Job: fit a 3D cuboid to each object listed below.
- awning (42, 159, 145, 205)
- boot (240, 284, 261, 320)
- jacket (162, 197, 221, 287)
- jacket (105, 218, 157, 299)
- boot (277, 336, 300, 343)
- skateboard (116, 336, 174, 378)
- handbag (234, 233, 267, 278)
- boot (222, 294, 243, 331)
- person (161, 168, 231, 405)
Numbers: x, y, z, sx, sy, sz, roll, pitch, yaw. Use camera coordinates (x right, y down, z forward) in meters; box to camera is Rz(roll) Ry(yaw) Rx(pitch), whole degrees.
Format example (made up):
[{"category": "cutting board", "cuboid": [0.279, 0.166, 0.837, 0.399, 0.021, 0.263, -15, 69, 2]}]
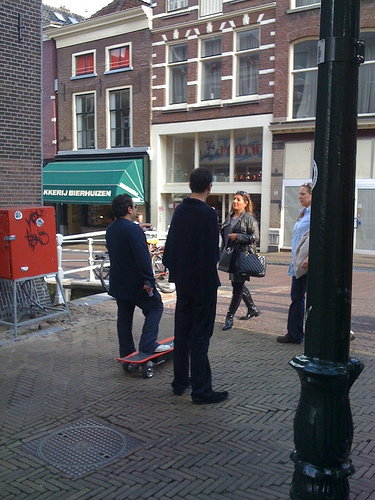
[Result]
[{"category": "awning", "cuboid": [-4.070, -2.987, 22.870, 5.671, 1.939, 1.662, 6, 14, 42]}, {"category": "boot", "cuboid": [0.809, 0.685, 7.076, 0.244, 0.551, 0.809, 0, 5, 6]}, {"category": "jacket", "cuboid": [0.036, -0.059, 4.171, 0.433, 0.669, 0.131, 2, 5, 22]}, {"category": "jacket", "cuboid": [-0.514, 0.077, 4.918, 0.435, 0.724, 0.212, 0, 5, 1]}, {"category": "boot", "cuboid": [1.071, 0.985, 5.956, 0.194, 0.068, 0.058, 4, 6, 39]}, {"category": "skateboard", "cuboid": [-0.364, 1.013, 5.037, 0.349, 0.211, 0.681, 2, 5, 27]}, {"category": "handbag", "cuboid": [0.723, 0.067, 6.294, 0.356, 0.514, 0.352, 0, 5, 6]}, {"category": "boot", "cuboid": [0.563, 0.745, 6.756, 0.248, 0.441, 0.402, 0, 5, 6]}, {"category": "person", "cuboid": [0.077, 0.267, 4.290, 0.325, 1.820, 0.509, -4, 6, -40]}]
